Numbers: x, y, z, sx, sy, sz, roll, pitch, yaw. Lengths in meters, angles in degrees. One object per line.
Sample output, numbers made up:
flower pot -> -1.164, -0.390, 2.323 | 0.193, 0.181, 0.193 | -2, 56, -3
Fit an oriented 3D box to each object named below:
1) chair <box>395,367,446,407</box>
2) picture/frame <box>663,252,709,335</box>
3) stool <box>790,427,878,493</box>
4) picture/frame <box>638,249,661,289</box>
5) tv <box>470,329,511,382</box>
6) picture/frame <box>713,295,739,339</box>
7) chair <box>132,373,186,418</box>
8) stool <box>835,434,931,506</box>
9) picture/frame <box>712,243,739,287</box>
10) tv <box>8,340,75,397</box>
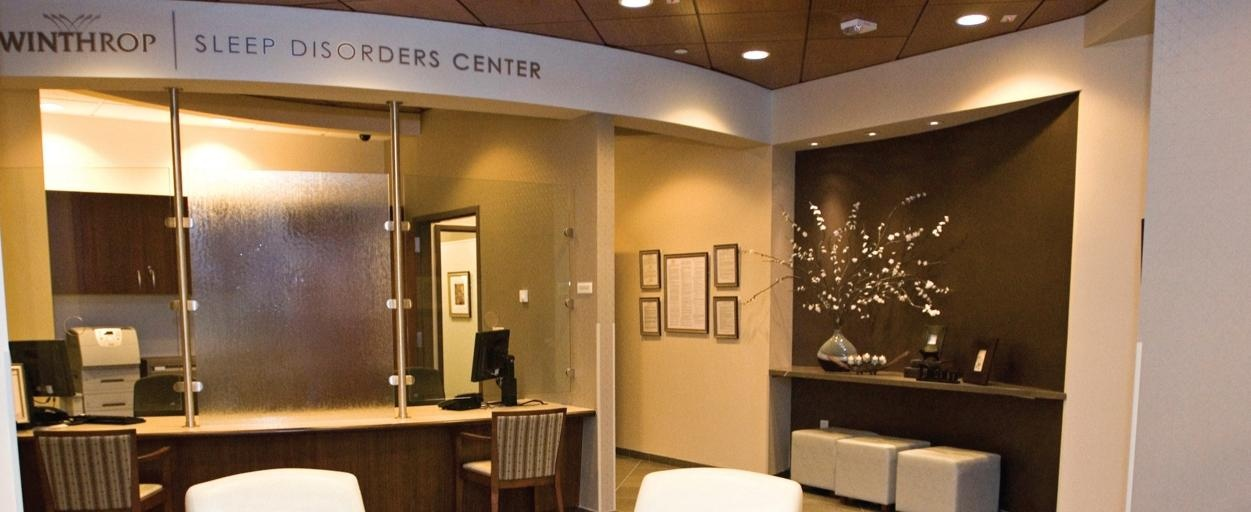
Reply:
chair -> -2.773, 1.736, 10.981 | 0.715, 0.494, 0.319 | -1, 11, -19
picture/frame -> 1.002, 0.604, 13.078 | 0.768, 1.269, 0.135 | -5, -6, 35
stool -> 2.790, 3.051, 12.205 | 1.148, 0.883, 1.362 | 2, -4, -35
picture/frame -> 0.427, 0.236, 13.400 | 0.407, 0.662, 0.066 | -4, -6, 30
tv -> -1.848, 1.354, 11.131 | 0.292, 0.681, 0.881 | 7, 5, 40
picture/frame -> 1.596, 0.968, 12.760 | 0.408, 0.668, 0.050 | -4, -6, 30
chair -> -6.166, 1.827, 10.939 | 0.717, 0.689, 0.684 | 1, 0, -19
stool -> 3.677, 3.027, 12.025 | 1.311, 0.885, 1.324 | 1, -2, -32
picture/frame -> 1.607, 0.161, 12.785 | 0.431, 0.687, 0.079 | -5, -6, 32
tv -> -7.352, 1.389, 10.266 | 1.068, 0.662, 0.118 | -5, 7, 2
